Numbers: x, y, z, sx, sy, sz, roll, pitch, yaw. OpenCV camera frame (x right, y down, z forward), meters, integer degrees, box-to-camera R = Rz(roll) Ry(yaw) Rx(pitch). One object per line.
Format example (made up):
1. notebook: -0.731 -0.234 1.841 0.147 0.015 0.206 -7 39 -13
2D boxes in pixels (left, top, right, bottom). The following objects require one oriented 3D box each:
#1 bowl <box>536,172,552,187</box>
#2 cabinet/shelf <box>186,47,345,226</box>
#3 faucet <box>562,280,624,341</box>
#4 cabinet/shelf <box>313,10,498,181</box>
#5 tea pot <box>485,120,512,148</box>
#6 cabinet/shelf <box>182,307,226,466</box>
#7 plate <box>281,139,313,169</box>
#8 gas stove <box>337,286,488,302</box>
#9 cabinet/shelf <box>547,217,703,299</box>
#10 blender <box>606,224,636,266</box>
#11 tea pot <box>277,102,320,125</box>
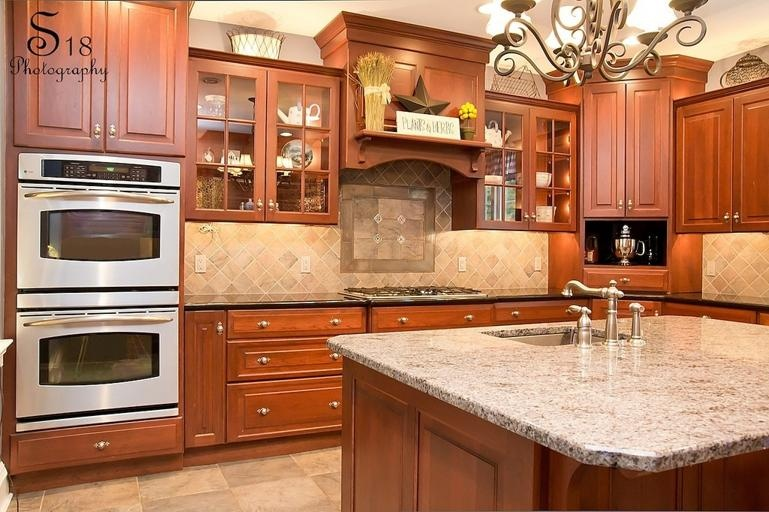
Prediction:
1. bowl: 1.501 -0.713 5.157 0.150 0.135 0.052 0 -1 -1
2. cabinet/shelf: -0.954 -0.913 4.240 1.515 1.355 0.523 1 -3 -23
3. faucet: 1.100 0.261 2.906 0.271 0.295 0.435 2 9 21
4. cabinet/shelf: 0.137 -1.359 4.498 1.470 1.140 0.552 1 -3 -25
5. tea pot: 1.015 -1.104 4.982 0.310 0.255 0.197 -2 6 -9
6. cabinet/shelf: -1.271 0.858 3.885 0.282 0.940 0.155 -3 9 -8
7. plate: -0.684 -0.811 4.355 0.230 0.214 0.058 -6 5 -22
8. gas stove: 0.255 0.308 4.529 1.170 0.087 0.483 -2 8 -10
9. cabinet/shelf: 2.247 0.019 5.009 0.794 0.682 0.250 -1 -5 14
10. blender: 2.318 -0.103 5.213 0.317 0.353 0.216 3 1 13
11. tea pot: -0.680 -1.125 4.387 0.291 0.182 0.163 -4 6 -23
